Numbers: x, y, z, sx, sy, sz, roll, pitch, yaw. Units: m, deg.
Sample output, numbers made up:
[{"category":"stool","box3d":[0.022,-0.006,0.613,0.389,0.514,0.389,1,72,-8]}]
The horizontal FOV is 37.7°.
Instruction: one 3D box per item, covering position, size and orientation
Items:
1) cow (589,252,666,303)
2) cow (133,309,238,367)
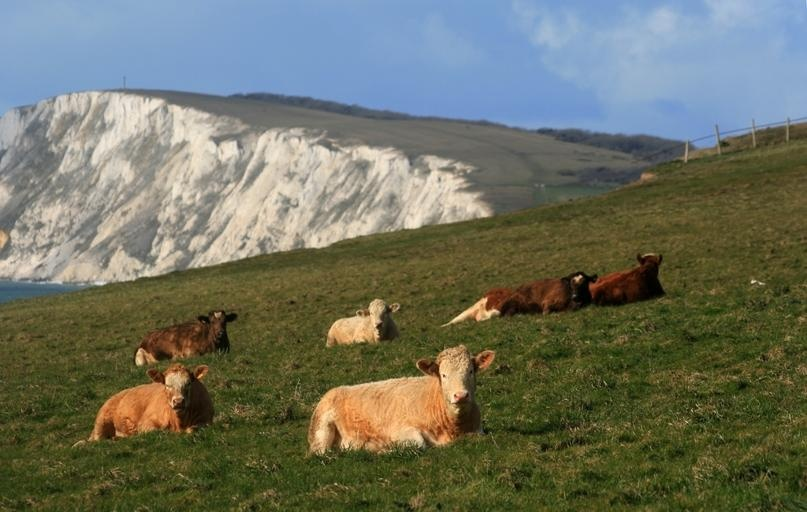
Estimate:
[{"category":"cow","box3d":[27.722,2.962,146.829,8.742,5.636,1.942,-9,-4,-6]},{"category":"cow","box3d":[-27.568,10.998,149.304,13.020,5.460,5.129,-13,-7,14]}]
